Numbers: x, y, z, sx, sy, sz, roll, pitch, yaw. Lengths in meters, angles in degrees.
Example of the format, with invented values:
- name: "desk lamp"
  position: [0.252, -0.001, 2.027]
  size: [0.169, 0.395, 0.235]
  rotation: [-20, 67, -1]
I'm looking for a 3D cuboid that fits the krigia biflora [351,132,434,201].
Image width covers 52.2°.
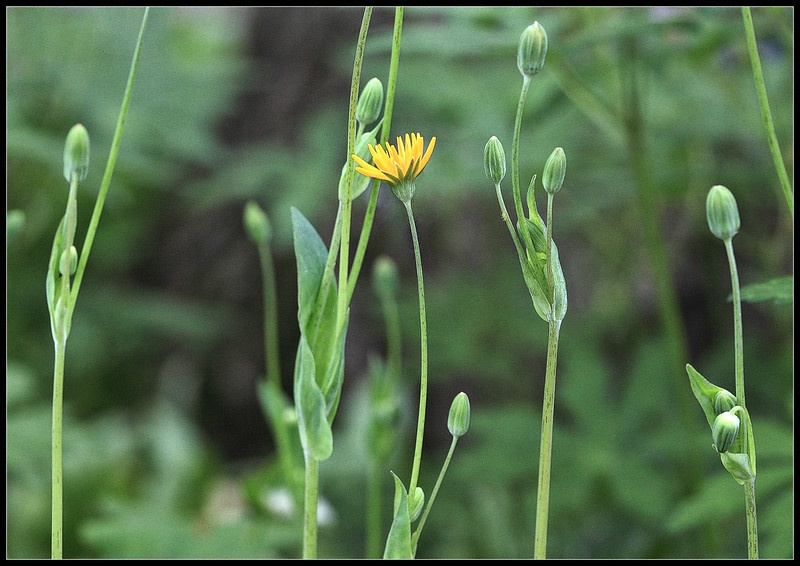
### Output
- name: "krigia biflora"
  position: [-0.008, -0.154, 0.999]
  size: [0.080, 0.083, 0.080]
  rotation: [-7, 102, -12]

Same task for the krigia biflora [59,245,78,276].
- name: "krigia biflora"
  position: [-0.397, -0.027, 0.995]
  size: [0.017, 0.022, 0.038]
  rotation: [10, 90, 0]

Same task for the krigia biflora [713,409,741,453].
- name: "krigia biflora"
  position: [0.382, 0.170, 0.960]
  size: [0.028, 0.031, 0.058]
  rotation: [0, 106, -10]

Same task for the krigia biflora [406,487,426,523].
- name: "krigia biflora"
  position: [0.024, 0.270, 1.008]
  size: [0.014, 0.030, 0.038]
  rotation: [12, 79, 28]

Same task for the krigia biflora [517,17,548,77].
- name: "krigia biflora"
  position: [0.162, -0.288, 1.006]
  size: [0.024, 0.032, 0.087]
  rotation: [5, 86, -15]

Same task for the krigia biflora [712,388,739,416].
- name: "krigia biflora"
  position: [0.380, 0.141, 0.963]
  size: [0.023, 0.030, 0.032]
  rotation: [-5, 120, 13]

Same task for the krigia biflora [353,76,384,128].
- name: "krigia biflora"
  position: [-0.037, -0.206, 0.992]
  size: [0.024, 0.025, 0.095]
  rotation: [7, 72, 13]
